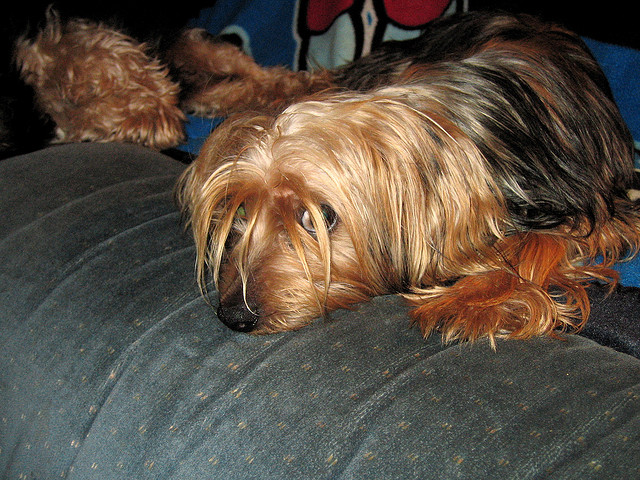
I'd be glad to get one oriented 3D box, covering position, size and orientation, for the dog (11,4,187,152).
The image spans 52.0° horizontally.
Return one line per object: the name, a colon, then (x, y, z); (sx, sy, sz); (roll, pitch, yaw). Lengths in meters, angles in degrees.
dog: (-0.859, -0.628, 2.612); (0.582, 0.550, 0.308); (-17, 40, -20)
